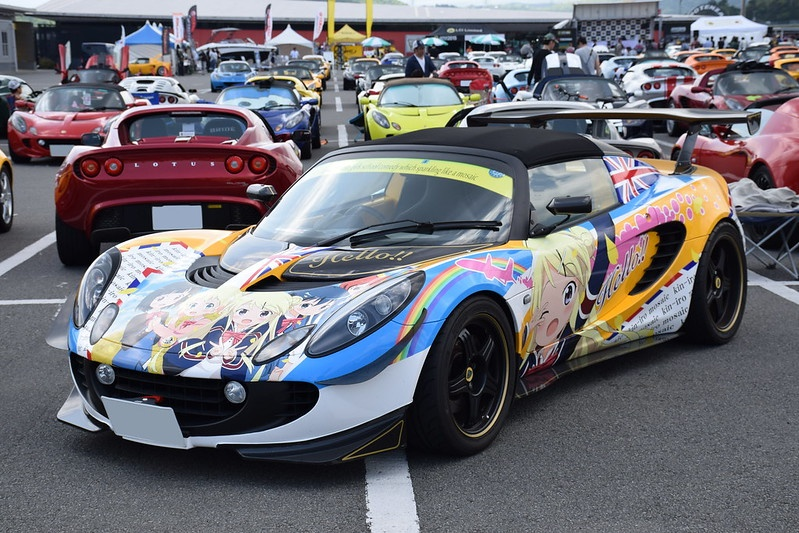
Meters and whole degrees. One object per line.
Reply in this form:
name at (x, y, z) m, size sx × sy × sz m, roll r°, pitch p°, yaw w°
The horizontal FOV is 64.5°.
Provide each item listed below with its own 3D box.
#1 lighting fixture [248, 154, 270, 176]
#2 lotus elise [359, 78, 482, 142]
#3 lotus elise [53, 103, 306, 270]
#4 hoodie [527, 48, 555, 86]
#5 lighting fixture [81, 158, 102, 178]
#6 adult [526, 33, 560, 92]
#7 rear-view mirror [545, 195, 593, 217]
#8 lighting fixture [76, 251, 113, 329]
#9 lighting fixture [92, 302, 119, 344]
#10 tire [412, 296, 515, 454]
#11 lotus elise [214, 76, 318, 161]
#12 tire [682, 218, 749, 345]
lighting fixture at (-1.587, -1.143, 7.348) m, size 0.333 × 0.324 × 0.179 m, roll 0°, pitch -1°, yaw -8°
lotus elise at (0.307, -3.841, 15.830) m, size 2.474 × 1.213 × 4.059 m, roll -4°, pitch 9°, yaw 0°
lotus elise at (-2.628, -1.033, 7.232) m, size 1.913 × 1.046 × 3.256 m, roll -1°, pitch 11°, yaw -4°
hoodie at (3.864, -5.553, 17.597) m, size 0.742 × 1.302 × 0.425 m, roll 9°, pitch 11°, yaw 22°
lighting fixture at (-3.432, -1.100, 7.056) m, size 0.210 × 0.220 × 0.081 m, roll -3°, pitch -2°, yaw -6°
adult at (4.026, -5.666, 17.552) m, size 0.571 × 1.384 × 0.444 m, roll 5°, pitch 10°, yaw -37°
rear-view mirror at (1.079, -0.379, 3.927) m, size 0.228 × 0.095 × 0.143 m, roll -1°, pitch -4°, yaw 10°
lighting fixture at (-1.868, 0.137, 3.855) m, size 0.106 × 0.385 × 0.281 m, roll 32°, pitch -14°, yaw -35°
lighting fixture at (-1.665, 0.313, 3.557) m, size 0.125 × 0.194 × 0.034 m, roll 17°, pitch -23°, yaw 42°
tire at (0.334, 0.591, 3.507) m, size 0.262 × 0.663 × 0.719 m, roll 7°, pitch 25°, yaw 33°
lotus elise at (-2.848, -3.508, 14.860) m, size 1.934 × 1.125 × 3.466 m, roll 1°, pitch 9°, yaw 3°
tire at (2.579, 0.116, 5.206) m, size 0.311 × 0.878 × 0.810 m, roll -1°, pitch 22°, yaw 46°
